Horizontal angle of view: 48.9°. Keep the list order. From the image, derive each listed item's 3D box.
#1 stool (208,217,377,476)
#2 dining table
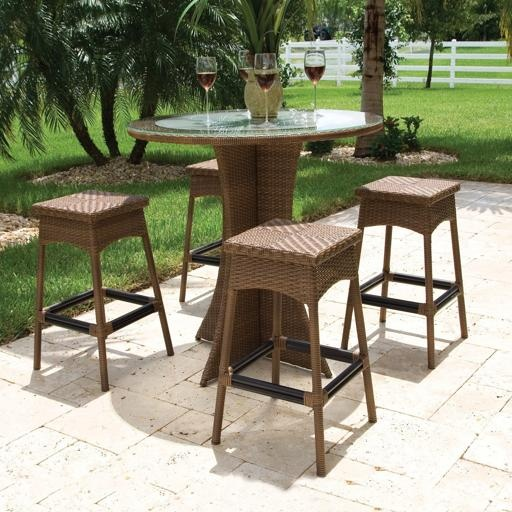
[{"bbox_3d":[0.152,0.299,2.172,0.695,0.681,0.614,0,9,14],"label":"stool"},{"bbox_3d":[0.101,-0.120,3.001,1.426,1.213,1.419,13,21,43],"label":"dining table"}]
